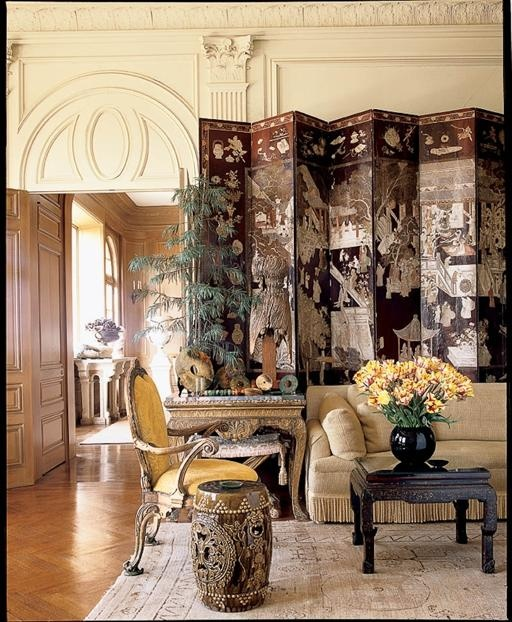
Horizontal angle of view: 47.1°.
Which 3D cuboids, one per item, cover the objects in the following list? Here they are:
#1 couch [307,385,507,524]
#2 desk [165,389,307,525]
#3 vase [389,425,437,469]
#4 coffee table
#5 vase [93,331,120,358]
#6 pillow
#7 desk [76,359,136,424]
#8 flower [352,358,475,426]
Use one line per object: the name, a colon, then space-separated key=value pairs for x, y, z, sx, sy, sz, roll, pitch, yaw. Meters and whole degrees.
couch: x=1.039 y=0.987 z=4.327 sx=1.510 sy=1.038 sz=0.837 roll=0 pitch=-9 yaw=0
desk: x=-0.112 y=1.071 z=4.441 sx=0.969 sy=0.889 sz=0.622 roll=-2 pitch=-3 yaw=6
vase: x=0.892 y=0.781 z=3.391 sx=0.255 sy=0.261 sz=0.252 roll=-5 pitch=2 yaw=-35
coffee table: x=0.897 y=1.079 z=3.301 sx=0.632 sy=0.509 sz=0.606 roll=0 pitch=-7 yaw=-1
vase: x=-2.227 y=0.501 z=9.035 sx=0.348 sy=0.289 sz=0.366 roll=-2 pitch=-6 yaw=7
pillow: x=0.659 y=0.817 z=4.167 sx=0.402 sy=0.135 sz=0.421 roll=0 pitch=26 yaw=-24
desk: x=-2.476 y=1.212 z=9.374 sx=0.662 sy=0.963 sz=1.887 roll=-5 pitch=-5 yaw=-16
flower: x=0.878 y=0.520 z=3.337 sx=0.367 sy=0.252 sz=0.378 roll=-2 pitch=7 yaw=-33
